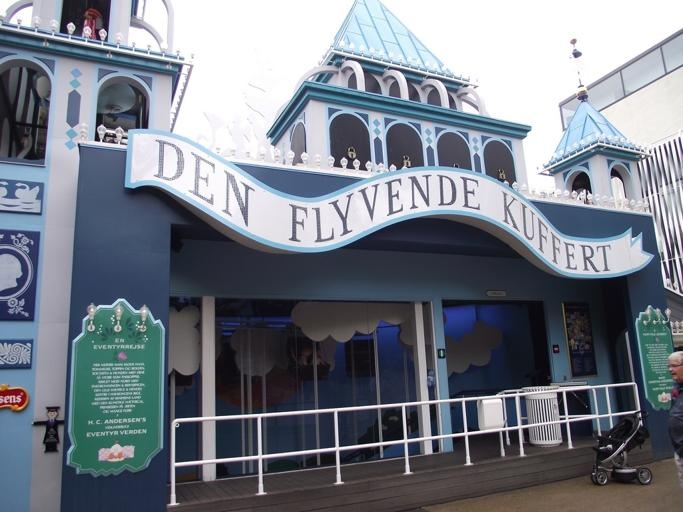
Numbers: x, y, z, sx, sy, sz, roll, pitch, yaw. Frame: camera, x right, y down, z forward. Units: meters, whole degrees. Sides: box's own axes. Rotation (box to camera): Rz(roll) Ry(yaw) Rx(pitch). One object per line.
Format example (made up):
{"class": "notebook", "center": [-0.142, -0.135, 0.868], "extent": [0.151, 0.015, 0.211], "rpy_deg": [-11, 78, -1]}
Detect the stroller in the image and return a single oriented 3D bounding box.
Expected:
{"class": "stroller", "center": [5.526, 3.751, 11.137], "extent": [1.013, 1.358, 1.466], "rpy_deg": [-8, -13, 30]}
